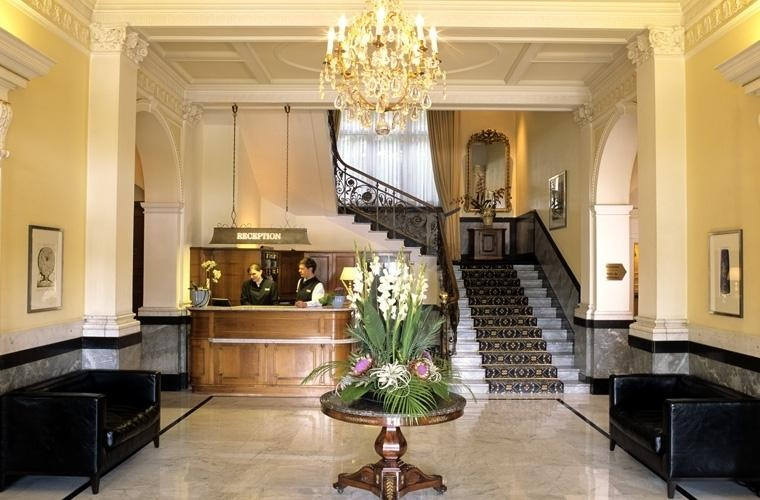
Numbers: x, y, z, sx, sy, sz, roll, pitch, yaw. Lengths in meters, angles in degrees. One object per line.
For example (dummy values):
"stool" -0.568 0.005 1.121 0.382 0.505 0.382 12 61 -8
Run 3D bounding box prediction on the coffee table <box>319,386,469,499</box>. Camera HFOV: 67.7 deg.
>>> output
"coffee table" 0.120 2.300 6.565 1.368 0.897 1.312 0 -6 0

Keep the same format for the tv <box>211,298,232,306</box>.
"tv" -2.849 0.955 10.248 0.265 0.174 0.188 3 17 11

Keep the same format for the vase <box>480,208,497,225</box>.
"vase" 2.745 -0.828 14.776 0.430 0.425 0.396 1 -13 -6

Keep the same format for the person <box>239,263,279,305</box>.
"person" -2.343 0.668 10.963 0.856 1.192 0.705 -1 -4 -8

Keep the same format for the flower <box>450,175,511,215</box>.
"flower" 2.864 -1.355 15.395 1.621 0.780 1.420 -1 -2 -19
